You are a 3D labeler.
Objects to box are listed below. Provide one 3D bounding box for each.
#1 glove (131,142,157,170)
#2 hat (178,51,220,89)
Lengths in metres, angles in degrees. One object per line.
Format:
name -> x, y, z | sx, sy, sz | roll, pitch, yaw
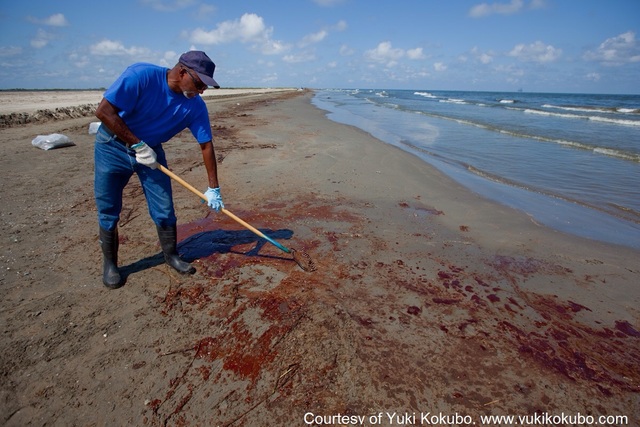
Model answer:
glove -> -2.196, -0.725, 4.743 | 0.363, 0.164, 0.277 | 43, 37, 7
hat -> -1.475, -1.795, 4.658 | 0.496, 0.413, 0.269 | 23, 36, 34
